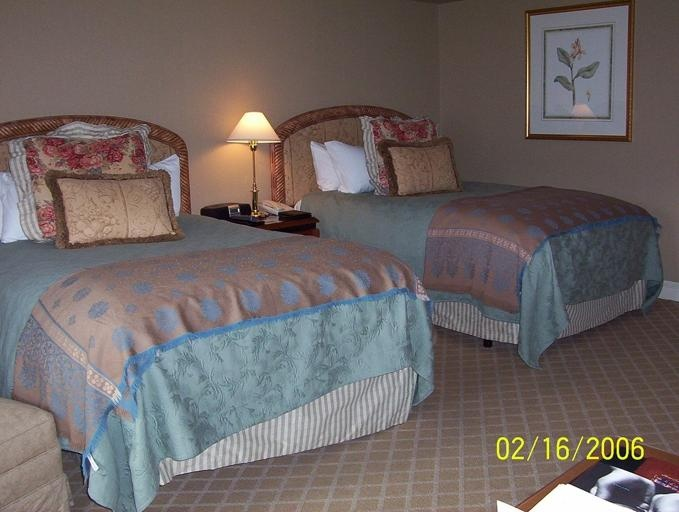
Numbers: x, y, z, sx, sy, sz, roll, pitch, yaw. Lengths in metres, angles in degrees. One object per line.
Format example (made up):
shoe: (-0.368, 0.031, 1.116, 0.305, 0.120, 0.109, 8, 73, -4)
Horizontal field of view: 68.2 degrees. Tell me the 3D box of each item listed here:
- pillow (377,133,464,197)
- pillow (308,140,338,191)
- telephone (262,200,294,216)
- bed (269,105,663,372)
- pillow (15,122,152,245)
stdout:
pillow: (0.670, -0.774, 4.170, 0.742, 0.484, 0.210, -7, -11, -24)
pillow: (-0.142, -0.794, 4.588, 0.128, 0.385, 0.432, -16, -11, 34)
telephone: (-0.524, -0.415, 4.254, 0.172, 0.064, 0.183, -10, 19, -44)
bed: (1.022, -0.442, 4.340, 1.763, 1.577, 2.738, -17, 22, -38)
pillow: (-1.727, -0.468, 3.079, 0.851, 0.791, 0.223, -8, 1, -39)
